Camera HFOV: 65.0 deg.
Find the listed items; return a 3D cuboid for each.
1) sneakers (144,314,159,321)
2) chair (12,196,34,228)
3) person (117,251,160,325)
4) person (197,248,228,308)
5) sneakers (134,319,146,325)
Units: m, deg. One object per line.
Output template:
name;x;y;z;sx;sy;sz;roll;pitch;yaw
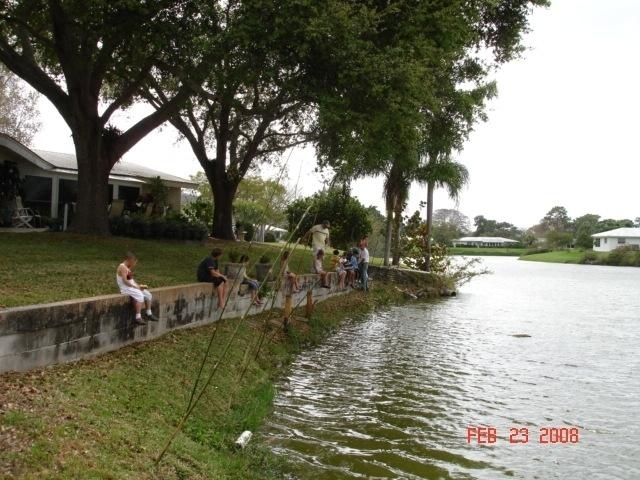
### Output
sneakers;-3.897;1.756;11.620;0.309;0.157;0.124;12;35;-20
chair;-14.666;-1.418;24.721;0.771;1.559;1.570;1;4;-33
person;-4.158;1.094;11.456;0.858;1.579;0.807;1;4;-27
person;-3.079;1.094;14.386;0.834;1.759;0.935;2;3;-11
sneakers;-4.009;1.816;11.182;0.240;0.190;0.087;-2;17;-10
